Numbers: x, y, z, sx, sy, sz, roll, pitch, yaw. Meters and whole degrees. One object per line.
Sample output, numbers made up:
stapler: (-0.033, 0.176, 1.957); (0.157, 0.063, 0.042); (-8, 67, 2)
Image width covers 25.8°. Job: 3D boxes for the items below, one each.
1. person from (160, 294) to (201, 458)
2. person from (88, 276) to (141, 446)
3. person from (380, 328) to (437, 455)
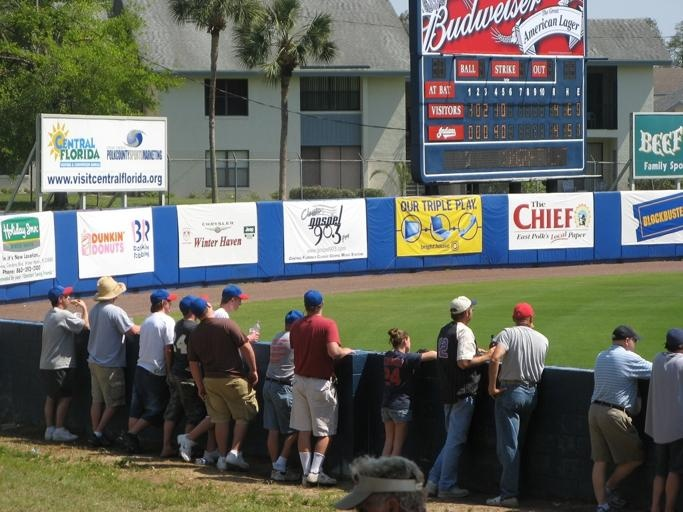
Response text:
person: (-3.989, 2.990, 37.267); (1.139, 4.033, 1.122); (1, 8, -8)
person: (-5.766, 2.616, 37.570); (1.460, 4.056, 1.122); (1, 10, -41)
person: (1.564, 3.299, 35.837); (0.959, 3.194, 1.212); (0, 0, -9)
